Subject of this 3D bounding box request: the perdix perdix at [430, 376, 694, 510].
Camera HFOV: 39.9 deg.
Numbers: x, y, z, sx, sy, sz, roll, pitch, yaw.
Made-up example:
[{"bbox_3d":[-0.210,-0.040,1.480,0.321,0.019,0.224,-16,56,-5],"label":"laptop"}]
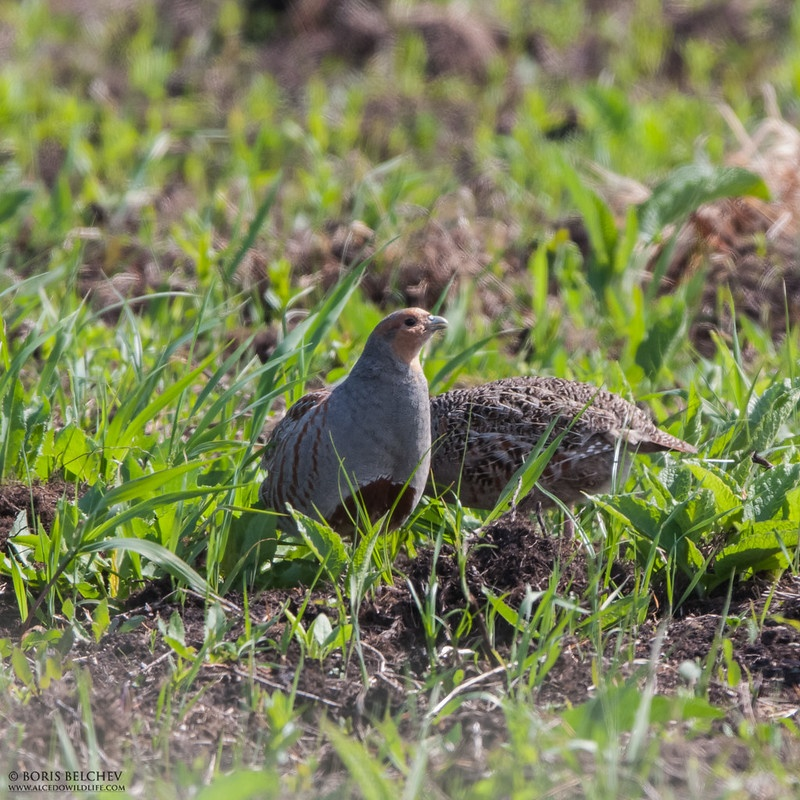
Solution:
[{"bbox_3d":[0.514,0.146,3.733,0.785,0.421,0.519,-13,72,4],"label":"perdix perdix"}]
